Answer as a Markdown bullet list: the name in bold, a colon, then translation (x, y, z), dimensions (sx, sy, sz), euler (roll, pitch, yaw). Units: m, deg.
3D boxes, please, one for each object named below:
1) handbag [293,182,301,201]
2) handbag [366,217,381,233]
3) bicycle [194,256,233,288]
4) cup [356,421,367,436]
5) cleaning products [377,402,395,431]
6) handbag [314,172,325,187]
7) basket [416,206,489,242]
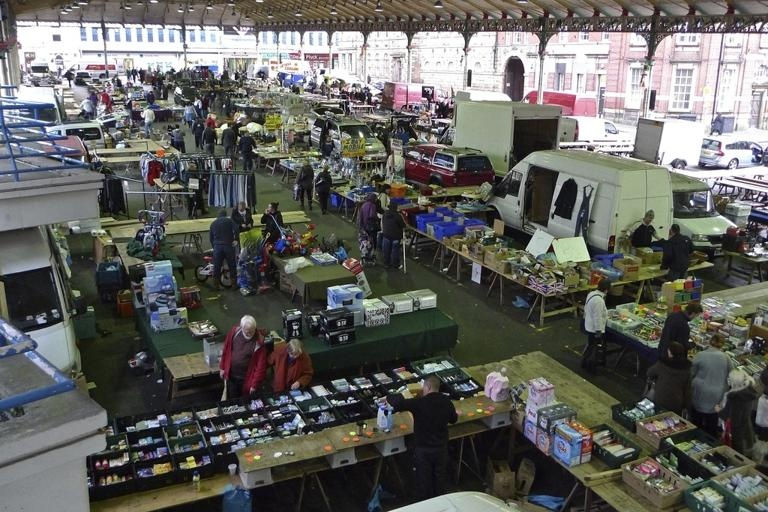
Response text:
- **handbag**: translation (-2.909, -2.138, 18.484), dimensions (0.292, 0.719, 0.590), euler (-1, 15, -14)
- **handbag**: translation (-0.266, -0.827, 14.015), dimensions (0.333, 0.366, 0.393), euler (-6, 51, 2)
- **bicycle**: translation (-3.934, 0.284, 12.854), dimensions (1.286, 0.781, 0.665), euler (4, 2, 32)
- **cup**: translation (-0.295, 2.304, 7.284), dimensions (0.143, 0.144, 0.089), euler (-1, 6, -1)
- **cleaning products**: translation (0.001, 2.147, 7.364), dimensions (0.209, 0.275, 0.330), euler (-2, 18, -2)
- **handbag**: translation (-2.001, -2.449, 17.566), dimensions (0.518, 0.385, 0.761), euler (6, 15, 0)
- **basket**: translation (1.495, -0.835, 13.897), dimensions (1.105, 0.310, 1.063), euler (-18, 27, -34)
